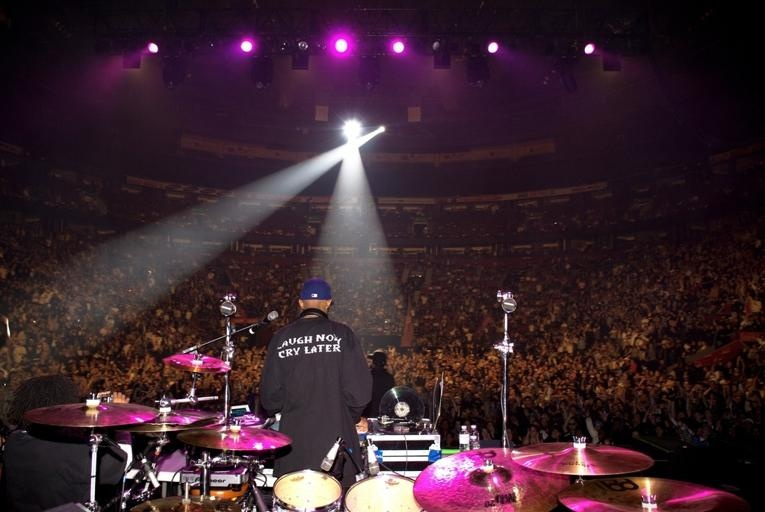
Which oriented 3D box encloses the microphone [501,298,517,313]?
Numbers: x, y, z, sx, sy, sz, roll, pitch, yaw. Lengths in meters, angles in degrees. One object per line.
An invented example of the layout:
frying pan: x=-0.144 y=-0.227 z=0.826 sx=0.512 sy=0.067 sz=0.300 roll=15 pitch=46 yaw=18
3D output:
microphone: x=1.672 y=0.653 z=8.525 sx=0.161 sy=0.243 sz=0.415 roll=-1 pitch=-20 yaw=9

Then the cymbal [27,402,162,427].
cymbal: x=-3.202 y=1.784 z=7.150 sx=0.632 sy=0.085 sz=0.653 roll=5 pitch=-9 yaw=45

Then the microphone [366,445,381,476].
microphone: x=-0.105 y=2.199 z=6.922 sx=0.131 sy=0.314 sz=0.232 roll=4 pitch=-19 yaw=-7
